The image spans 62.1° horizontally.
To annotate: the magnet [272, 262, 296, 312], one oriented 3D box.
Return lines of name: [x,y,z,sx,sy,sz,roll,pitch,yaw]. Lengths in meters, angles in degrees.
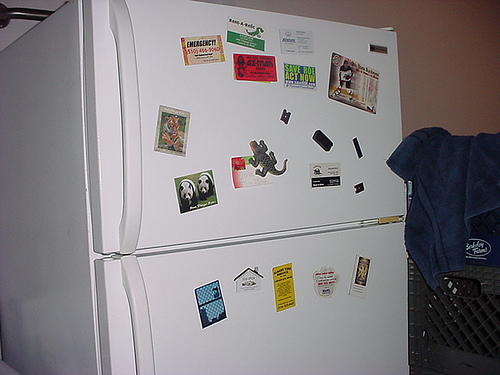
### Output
magnet: [0.125,0.369,1.543,0.075,0.174,0.073,-1,6,-4]

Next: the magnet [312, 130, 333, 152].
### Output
magnet: [0.281,-0.179,1.596,0.092,0.052,0.019,44,-17,-26]

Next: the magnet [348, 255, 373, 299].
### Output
magnet: [0.449,0.360,1.687,0.081,0.168,0.016,16,-6,-27]
